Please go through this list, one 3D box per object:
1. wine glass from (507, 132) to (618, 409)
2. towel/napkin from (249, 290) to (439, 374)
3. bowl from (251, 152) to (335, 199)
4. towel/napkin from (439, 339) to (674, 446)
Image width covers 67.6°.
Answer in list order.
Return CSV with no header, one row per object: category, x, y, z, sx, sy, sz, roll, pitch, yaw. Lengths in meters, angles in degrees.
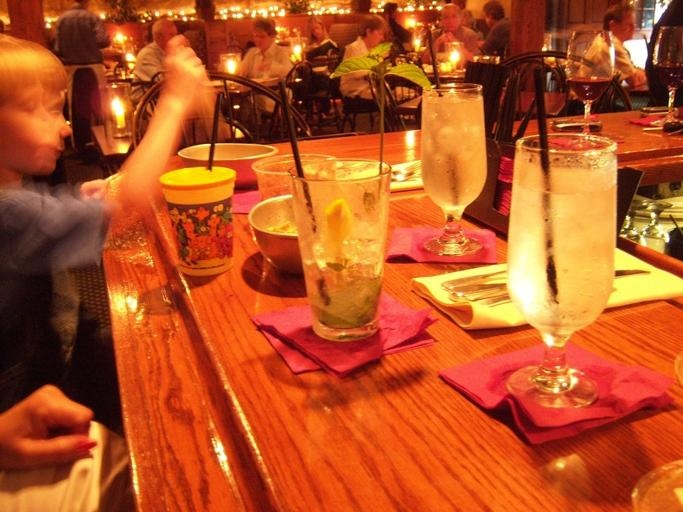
wine glass,0.283,0.013,0.656,0.131,0.326,0.187,2,23,14
towel/napkin,0.015,0.130,0.810,0.164,0.031,0.164,-12,28,-26
bowl,-0.147,-0.198,1.276,0.183,0.067,0.181,-2,27,1
towel/napkin,0.298,0.179,0.668,0.155,0.024,0.146,-10,19,-26
